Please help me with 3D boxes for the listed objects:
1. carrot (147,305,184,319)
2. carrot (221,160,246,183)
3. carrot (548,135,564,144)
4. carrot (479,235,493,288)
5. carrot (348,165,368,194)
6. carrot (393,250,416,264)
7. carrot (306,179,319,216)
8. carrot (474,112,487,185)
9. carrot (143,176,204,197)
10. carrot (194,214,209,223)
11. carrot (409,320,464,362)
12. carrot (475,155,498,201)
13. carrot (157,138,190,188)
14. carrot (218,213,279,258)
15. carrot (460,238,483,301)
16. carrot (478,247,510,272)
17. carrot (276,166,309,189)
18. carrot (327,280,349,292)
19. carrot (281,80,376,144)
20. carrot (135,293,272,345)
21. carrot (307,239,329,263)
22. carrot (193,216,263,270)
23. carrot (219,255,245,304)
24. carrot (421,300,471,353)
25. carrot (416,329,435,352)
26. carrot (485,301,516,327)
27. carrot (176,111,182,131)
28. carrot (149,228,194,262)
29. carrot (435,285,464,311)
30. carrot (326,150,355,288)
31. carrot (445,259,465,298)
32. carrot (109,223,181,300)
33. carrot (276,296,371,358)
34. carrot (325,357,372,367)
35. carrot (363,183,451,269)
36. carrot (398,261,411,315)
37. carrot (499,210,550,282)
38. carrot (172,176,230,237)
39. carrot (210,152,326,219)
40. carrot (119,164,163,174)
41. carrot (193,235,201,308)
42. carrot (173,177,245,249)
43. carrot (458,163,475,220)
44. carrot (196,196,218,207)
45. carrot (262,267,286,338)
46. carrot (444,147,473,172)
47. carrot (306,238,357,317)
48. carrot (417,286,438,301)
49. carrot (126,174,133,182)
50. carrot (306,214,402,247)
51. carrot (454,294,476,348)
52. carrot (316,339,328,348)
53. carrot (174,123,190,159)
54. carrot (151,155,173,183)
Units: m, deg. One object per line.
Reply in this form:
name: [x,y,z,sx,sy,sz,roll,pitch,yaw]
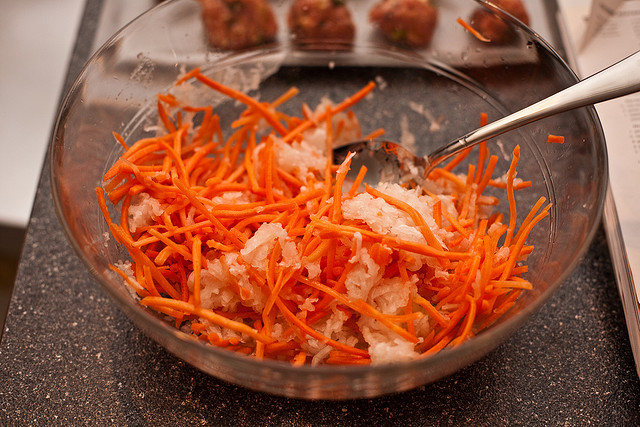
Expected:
carrot: [-0.324,0.209,1.277,0.038,0.038,0.010,30,77,-32]
carrot: [-0.215,-0.097,1.482,0.043,0.045,0.011,-41,90,4]
carrot: [0.547,-0.171,1.384,0.024,0.018,0.015,2,14,19]
carrot: [0.360,0.101,1.293,0.026,0.028,0.112,3,52,13]
carrot: [0.093,-0.086,1.437,0.025,0.017,0.101,18,64,5]
carrot: [0.184,0.094,1.288,0.017,0.018,0.062,-13,27,-21]
carrot: [-0.011,-0.036,1.391,0.022,0.018,0.097,1,43,-4]
carrot: [0.398,-0.161,1.507,0.025,0.025,0.186,4,95,-1]
carrot: [-0.341,-0.059,1.367,0.082,0.029,0.022,14,24,-1]
carrot: [-0.271,0.013,1.360,0.021,0.006,0.023,-20,27,21]
carrot: [0.241,0.265,1.233,0.128,0.015,0.019,-27,55,-26]
carrot: [0.401,-0.082,1.468,0.030,0.129,0.022,-6,47,-16]
carrot: [-0.350,-0.117,1.418,0.025,0.034,0.126,-29,76,-16]
carrot: [-0.165,0.032,1.352,0.103,0.025,0.106,17,68,40]
carrot: [0.334,0.123,1.308,0.035,0.030,0.180,18,35,15]
carrot: [0.385,0.095,1.328,0.014,0.038,0.061,44,84,-23]
carrot: [-0.067,-0.087,1.485,0.079,0.012,0.011,35,49,-3]
carrot: [0.036,0.160,1.310,0.026,0.026,0.007,34,92,22]
carrot: [0.014,-0.276,1.602,0.254,0.029,0.033,-33,17,4]
carrot: [-0.246,0.208,1.280,0.292,0.061,0.078,3,64,8]
carrot: [-0.006,0.080,1.300,0.054,0.012,0.015,-45,59,-9]
carrot: [-0.213,0.069,1.359,0.123,0.052,0.118,1,44,41]
carrot: [-0.187,0.148,1.337,0.027,0.020,0.107,-30,96,-51]
carrot: [0.289,0.245,1.285,0.010,0.118,0.015,33,16,15]
carrot: [0.226,0.277,1.280,0.019,0.066,0.010,30,14,-34]
carrot: [0.382,0.214,1.261,0.069,0.013,0.015,-43,110,-10]
carrot: [-0.356,-0.235,1.516,0.011,0.013,0.056,-2,99,3]
carrot: [-0.330,0.071,1.335,0.090,0.013,0.021,39,18,4]
carrot: [0.284,0.185,1.306,0.061,0.016,0.015,-46,48,4]
carrot: [0.038,-0.004,1.327,0.041,0.047,0.354,22,67,-37]
carrot: [0.291,0.140,1.309,0.015,0.094,0.013,9,23,-21]
carrot: [-0.387,0.110,1.318,0.198,0.027,0.029,48,49,9]
carrot: [0.004,0.245,1.293,0.193,0.022,0.031,37,67,21]
carrot: [0.065,0.312,1.260,0.089,0.025,0.026,6,94,-10]
carrot: [0.191,0.036,1.331,0.027,0.042,0.246,-30,52,-8]
carrot: [0.186,0.164,1.297,0.016,0.016,0.120,-2,75,-1]
carrot: [0.469,0.077,1.363,0.025,0.200,0.026,-6,38,-32]
carrot: [-0.274,-0.010,1.361,0.023,0.022,0.157,-38,84,-32]
carrot: [-0.119,-0.037,1.404,0.162,0.069,0.203,-11,43,-9]
carrot: [-0.417,-0.101,1.373,0.104,0.017,0.027,-3,74,-42]
carrot: [-0.265,0.121,1.293,0.019,0.195,0.020,-9,40,-23]
carrot: [-0.255,0.006,1.359,0.206,0.021,0.028,44,33,-8]
carrot: [0.365,-0.051,1.475,0.029,0.025,0.181,7,84,-9]
carrot: [-0.258,-0.025,1.357,0.036,0.008,0.010,26,18,-26]
carrot: [-0.100,0.189,1.289,0.031,0.199,0.042,-24,48,-40]
carrot: [0.354,-0.140,1.529,0.013,0.086,0.012,18,37,-38]
carrot: [0.024,0.141,1.299,0.027,0.023,0.190,20,71,45]
carrot: [0.238,0.179,1.352,0.036,0.036,0.012,34,23,-4]
carrot: [-0.441,-0.083,1.380,0.011,0.019,0.011,8,88,-16]
carrot: [0.087,0.032,1.344,0.260,0.057,0.050,-1,98,-28]
carrot: [0.313,0.220,1.246,0.020,0.081,0.084,13,27,1]
carrot: [0.005,0.278,1.274,0.020,0.021,0.016,-8,96,24]
carrot: [-0.346,-0.183,1.473,0.017,0.045,0.065,-3,69,36]
carrot: [-0.370,-0.101,1.400,0.019,0.011,0.073,2,31,5]
